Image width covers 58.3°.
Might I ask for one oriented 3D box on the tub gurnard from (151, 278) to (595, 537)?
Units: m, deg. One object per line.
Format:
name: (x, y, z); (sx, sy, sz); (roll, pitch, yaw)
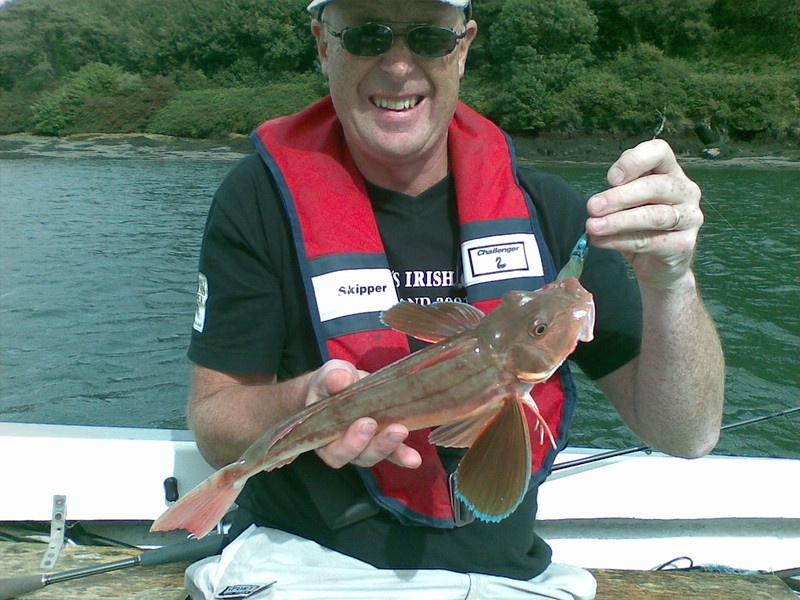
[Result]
tub gurnard: (0.346, 0.198, 3.392); (1.467, 1.099, 2.503); (-8, 8, -42)
